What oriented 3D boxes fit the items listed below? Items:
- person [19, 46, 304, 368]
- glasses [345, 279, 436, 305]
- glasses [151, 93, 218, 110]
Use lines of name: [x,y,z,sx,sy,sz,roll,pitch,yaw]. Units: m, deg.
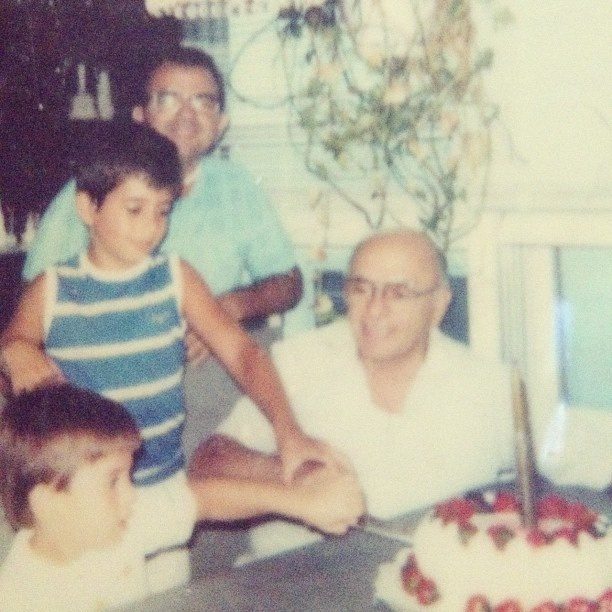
person: [-0.492,-0.346,2.977,1.106,0.990,0.609,3,20,-9]
glasses: [0.304,-0.056,2.914,0.339,0.083,0.038,2,21,7]
glasses: [-0.445,-0.751,2.957,0.251,0.064,0.030,1,21,4]
